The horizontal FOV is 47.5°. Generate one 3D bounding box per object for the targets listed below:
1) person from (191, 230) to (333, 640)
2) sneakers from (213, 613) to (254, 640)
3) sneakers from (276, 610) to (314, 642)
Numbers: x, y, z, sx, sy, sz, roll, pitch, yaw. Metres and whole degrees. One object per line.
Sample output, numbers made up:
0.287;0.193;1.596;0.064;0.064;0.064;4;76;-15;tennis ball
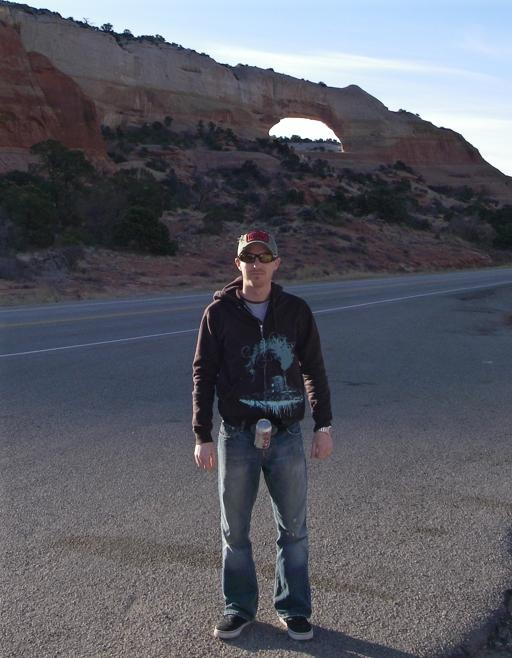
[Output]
0.046;0.403;2.576;0.648;1.667;0.685;0;7;-6;person
-0.099;1.222;2.404;0.090;0.077;0.199;4;7;24;sneakers
0.172;1.223;2.421;0.121;0.078;0.196;0;7;-10;sneakers
